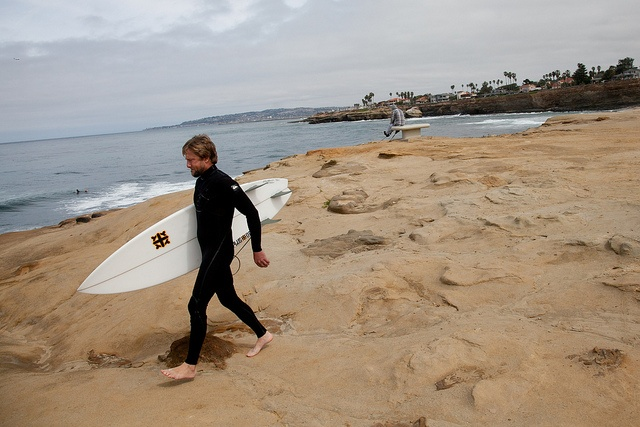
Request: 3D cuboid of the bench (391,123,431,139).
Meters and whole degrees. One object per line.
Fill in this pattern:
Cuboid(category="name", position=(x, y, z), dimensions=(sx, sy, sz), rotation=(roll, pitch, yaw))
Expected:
Cuboid(category="bench", position=(3.968, -3.594, 18.406), dimensions=(1.286, 0.600, 1.681), rotation=(1, 12, 25))
